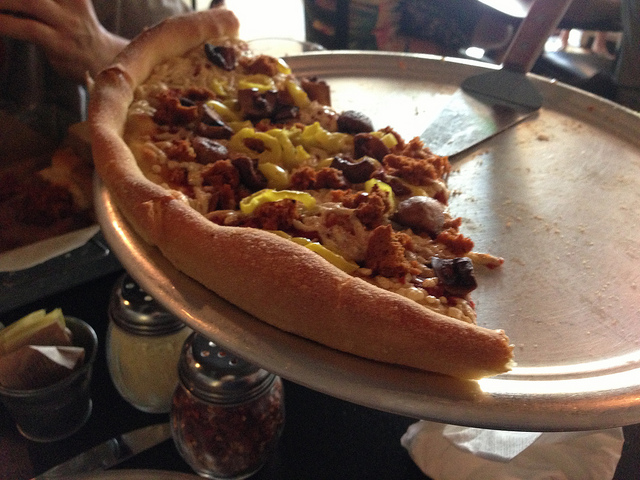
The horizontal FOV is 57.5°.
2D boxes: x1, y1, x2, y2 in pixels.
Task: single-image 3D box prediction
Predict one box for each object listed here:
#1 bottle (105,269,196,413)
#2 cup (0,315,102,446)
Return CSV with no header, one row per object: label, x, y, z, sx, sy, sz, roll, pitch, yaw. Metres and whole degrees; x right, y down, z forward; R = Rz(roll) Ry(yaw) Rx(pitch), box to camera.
bottle,-0.394,0.245,1.382,0.241,0.333,0.225,5,43,-4
cup,-0.585,0.338,1.424,0.289,0.194,0.248,4,44,-2
